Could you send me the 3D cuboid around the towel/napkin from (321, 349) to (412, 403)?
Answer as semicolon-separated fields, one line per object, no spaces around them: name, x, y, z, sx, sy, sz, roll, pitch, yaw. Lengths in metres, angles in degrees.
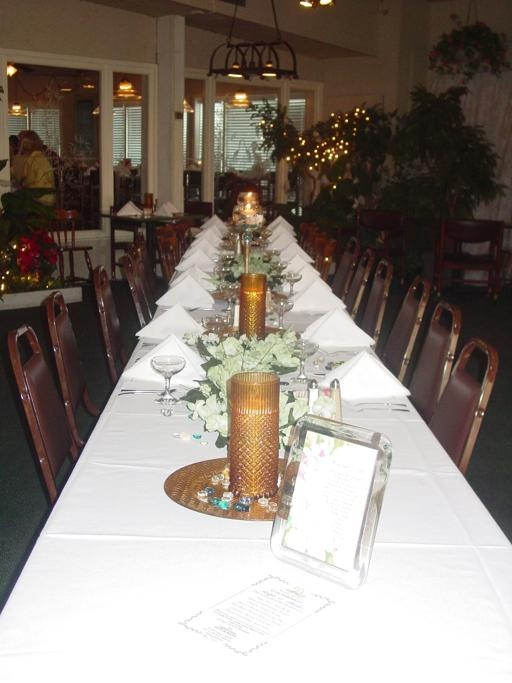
towel/napkin;0.422;0.150;1.844;0.255;0.120;0.257;-3;10;-16

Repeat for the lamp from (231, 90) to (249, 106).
lamp;-0.327;-5.111;10.258;0.331;0.340;0.338;0;27;-4

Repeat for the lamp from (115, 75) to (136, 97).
lamp;-2.263;-4.422;8.450;0.266;0.297;0.297;2;12;8

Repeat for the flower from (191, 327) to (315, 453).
flower;-0.029;0.109;1.222;0.305;0.330;0.198;3;-12;-32

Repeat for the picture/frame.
picture/frame;0.118;0.248;0.759;0.191;0.251;0.065;16;8;34

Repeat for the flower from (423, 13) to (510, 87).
flower;4.036;-5.411;9.135;1.321;1.066;2.133;5;6;23

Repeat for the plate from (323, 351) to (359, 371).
plate;0.366;0.089;2.123;0.100;0.040;0.034;-18;30;-11

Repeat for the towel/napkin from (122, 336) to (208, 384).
towel/napkin;-0.357;0.094;1.883;0.211;0.105;0.293;1;11;-1

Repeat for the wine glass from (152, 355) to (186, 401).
wine glass;-0.329;0.133;1.792;0.110;0.171;0.228;1;6;-12
